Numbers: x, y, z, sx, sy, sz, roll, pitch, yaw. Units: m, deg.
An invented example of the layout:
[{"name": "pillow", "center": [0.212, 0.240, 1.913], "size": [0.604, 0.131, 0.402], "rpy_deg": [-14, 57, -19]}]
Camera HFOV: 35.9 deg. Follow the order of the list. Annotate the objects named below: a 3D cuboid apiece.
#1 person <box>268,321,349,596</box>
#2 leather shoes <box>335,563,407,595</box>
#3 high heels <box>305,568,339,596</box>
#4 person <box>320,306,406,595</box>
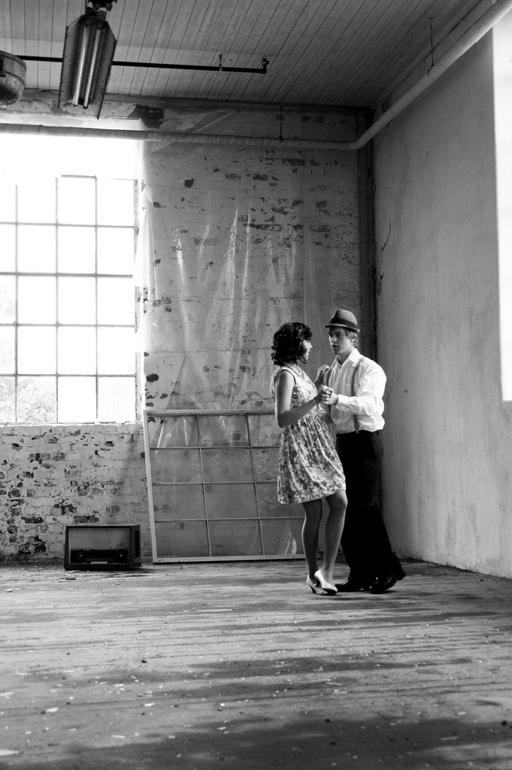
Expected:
[{"name": "person", "center": [0.253, 0.364, 3.976], "size": [0.424, 1.336, 0.366], "rpy_deg": [-2, -2, 43]}, {"name": "leather shoes", "center": [0.565, 1.014, 4.026], "size": [0.235, 0.167, 0.254], "rpy_deg": [1, -4, 20]}, {"name": "high heels", "center": [0.323, 1.019, 4.003], "size": [0.065, 0.108, 0.216], "rpy_deg": [0, -13, -19]}, {"name": "person", "center": [0.499, 0.353, 4.018], "size": [0.416, 1.481, 0.398], "rpy_deg": [0, -2, -15]}]
